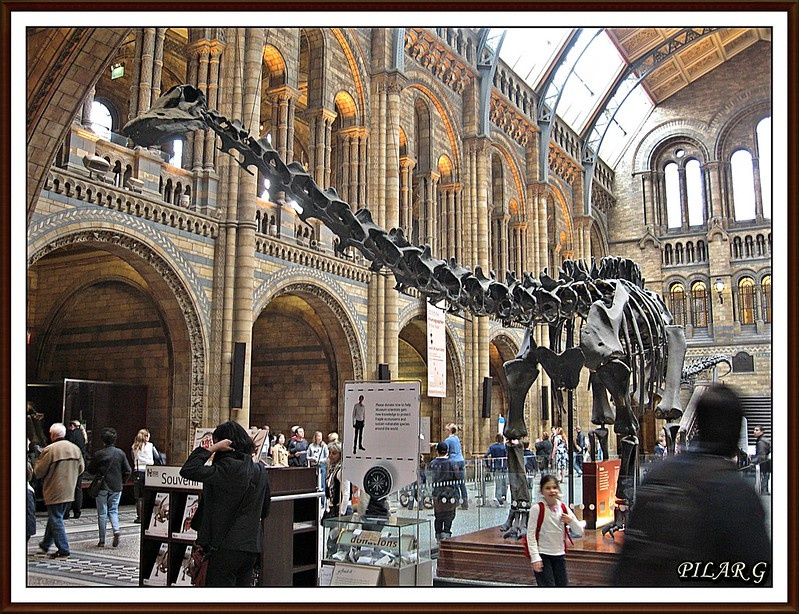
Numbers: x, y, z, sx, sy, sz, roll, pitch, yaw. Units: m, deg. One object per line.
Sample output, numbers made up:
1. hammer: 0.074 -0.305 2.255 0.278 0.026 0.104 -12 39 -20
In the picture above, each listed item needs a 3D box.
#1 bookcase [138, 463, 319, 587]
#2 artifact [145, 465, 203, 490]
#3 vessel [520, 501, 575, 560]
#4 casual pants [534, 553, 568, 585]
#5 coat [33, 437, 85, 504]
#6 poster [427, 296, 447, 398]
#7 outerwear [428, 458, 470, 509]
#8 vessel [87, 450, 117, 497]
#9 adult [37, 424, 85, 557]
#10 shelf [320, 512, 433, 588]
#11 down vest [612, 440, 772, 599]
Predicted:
1. bookcase: -1.425 2.175 6.753 0.755 1.089 1.279 8 -21 -44
2. artifact: -2.055 1.506 6.431 0.475 0.157 0.445 -1 -7 12
3. vessel: 1.187 1.731 5.588 0.415 0.452 0.301 0 -16 1
4. casual pants: 1.123 1.973 5.384 0.223 0.226 0.357 -2 -10 9
5. coat: -3.877 1.882 8.243 0.433 0.718 0.536 -16 -16 33
6. poster: 0.979 1.122 19.164 0.031 2.515 1.105 -3 3 -26
7. outerwear: 0.516 1.965 8.130 0.423 0.560 0.316 -3 -5 17
8. vessel: -3.670 2.050 8.897 0.195 0.488 0.346 18 -24 -17
9. adult: -3.879 2.090 8.285 0.515 1.459 0.513 3 -9 -29
10. shelf: -0.156 1.816 5.203 0.731 0.503 0.400 -7 -6 34
11. down vest: 1.294 0.936 3.150 0.742 0.618 0.521 0 -10 -2
